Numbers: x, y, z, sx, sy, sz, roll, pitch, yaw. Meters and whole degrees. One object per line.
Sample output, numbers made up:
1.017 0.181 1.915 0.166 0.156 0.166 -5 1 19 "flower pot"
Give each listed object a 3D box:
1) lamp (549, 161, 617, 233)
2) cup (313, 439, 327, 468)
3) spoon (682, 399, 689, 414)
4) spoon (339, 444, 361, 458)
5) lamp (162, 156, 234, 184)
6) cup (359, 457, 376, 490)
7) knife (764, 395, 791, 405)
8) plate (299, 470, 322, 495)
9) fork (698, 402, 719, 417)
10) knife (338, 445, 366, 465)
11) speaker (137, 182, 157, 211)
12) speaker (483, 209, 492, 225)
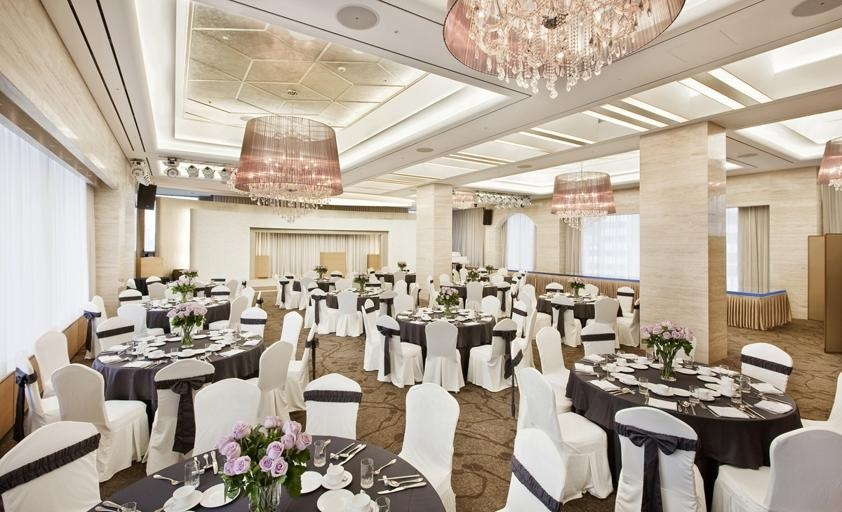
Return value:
4.062 -1.342 12.610 1.432 1.561 1.462 -3 -5 41 "lamp"
-1.262 2.462 6.568 0.195 0.276 0.245 0 -2 -7 "cup"
3.649 2.071 7.206 0.076 0.012 0.279 -1 8 23 "spoon"
-0.885 2.452 6.600 0.105 0.027 0.329 12 14 25 "spoon"
-5.994 -2.217 13.928 1.803 0.418 1.623 2 -3 -33 "lamp"
-0.657 2.611 6.355 0.182 0.358 0.243 0 -1 -6 "cup"
5.032 2.001 7.346 0.211 0.040 0.142 3 6 37 "knife"
-1.328 2.723 6.315 0.245 0.205 0.188 1 -2 -17 "plate"
3.929 2.089 7.150 0.083 0.021 0.395 -17 1 11 "fork"
-0.851 2.473 6.578 0.109 0.029 0.424 17 25 29 "knife"
-7.275 -1.595 13.771 0.437 0.650 0.512 1 -2 -36 "speaker"
2.818 -1.711 22.228 0.236 0.677 0.688 0 -2 31 "speaker"
